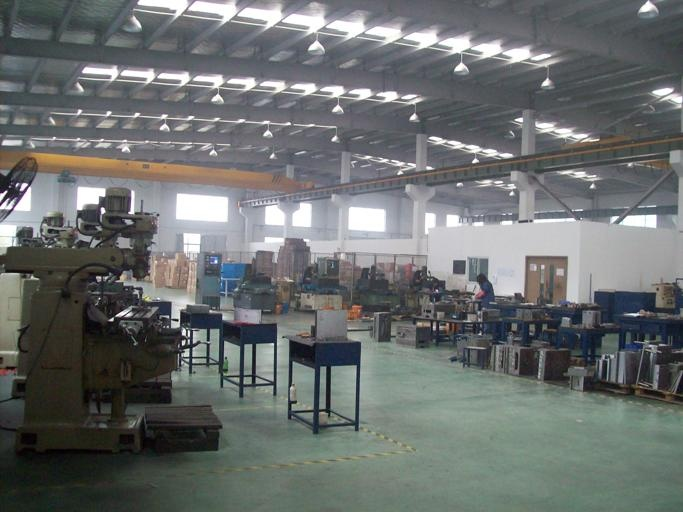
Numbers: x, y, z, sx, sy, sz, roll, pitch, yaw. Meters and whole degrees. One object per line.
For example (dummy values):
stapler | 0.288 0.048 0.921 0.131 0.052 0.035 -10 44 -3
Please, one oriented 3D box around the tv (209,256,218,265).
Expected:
tv | -4.580 0.178 21.858 0.476 0.324 0.256 6 -8 -44

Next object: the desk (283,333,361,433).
desk | -0.288 1.847 8.978 1.012 1.308 1.178 5 -4 -23

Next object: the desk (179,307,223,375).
desk | -2.683 1.655 11.539 0.509 0.908 1.275 1 -4 -15

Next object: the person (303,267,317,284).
person | -1.254 0.737 24.638 0.543 0.756 1.578 3 -4 -3
